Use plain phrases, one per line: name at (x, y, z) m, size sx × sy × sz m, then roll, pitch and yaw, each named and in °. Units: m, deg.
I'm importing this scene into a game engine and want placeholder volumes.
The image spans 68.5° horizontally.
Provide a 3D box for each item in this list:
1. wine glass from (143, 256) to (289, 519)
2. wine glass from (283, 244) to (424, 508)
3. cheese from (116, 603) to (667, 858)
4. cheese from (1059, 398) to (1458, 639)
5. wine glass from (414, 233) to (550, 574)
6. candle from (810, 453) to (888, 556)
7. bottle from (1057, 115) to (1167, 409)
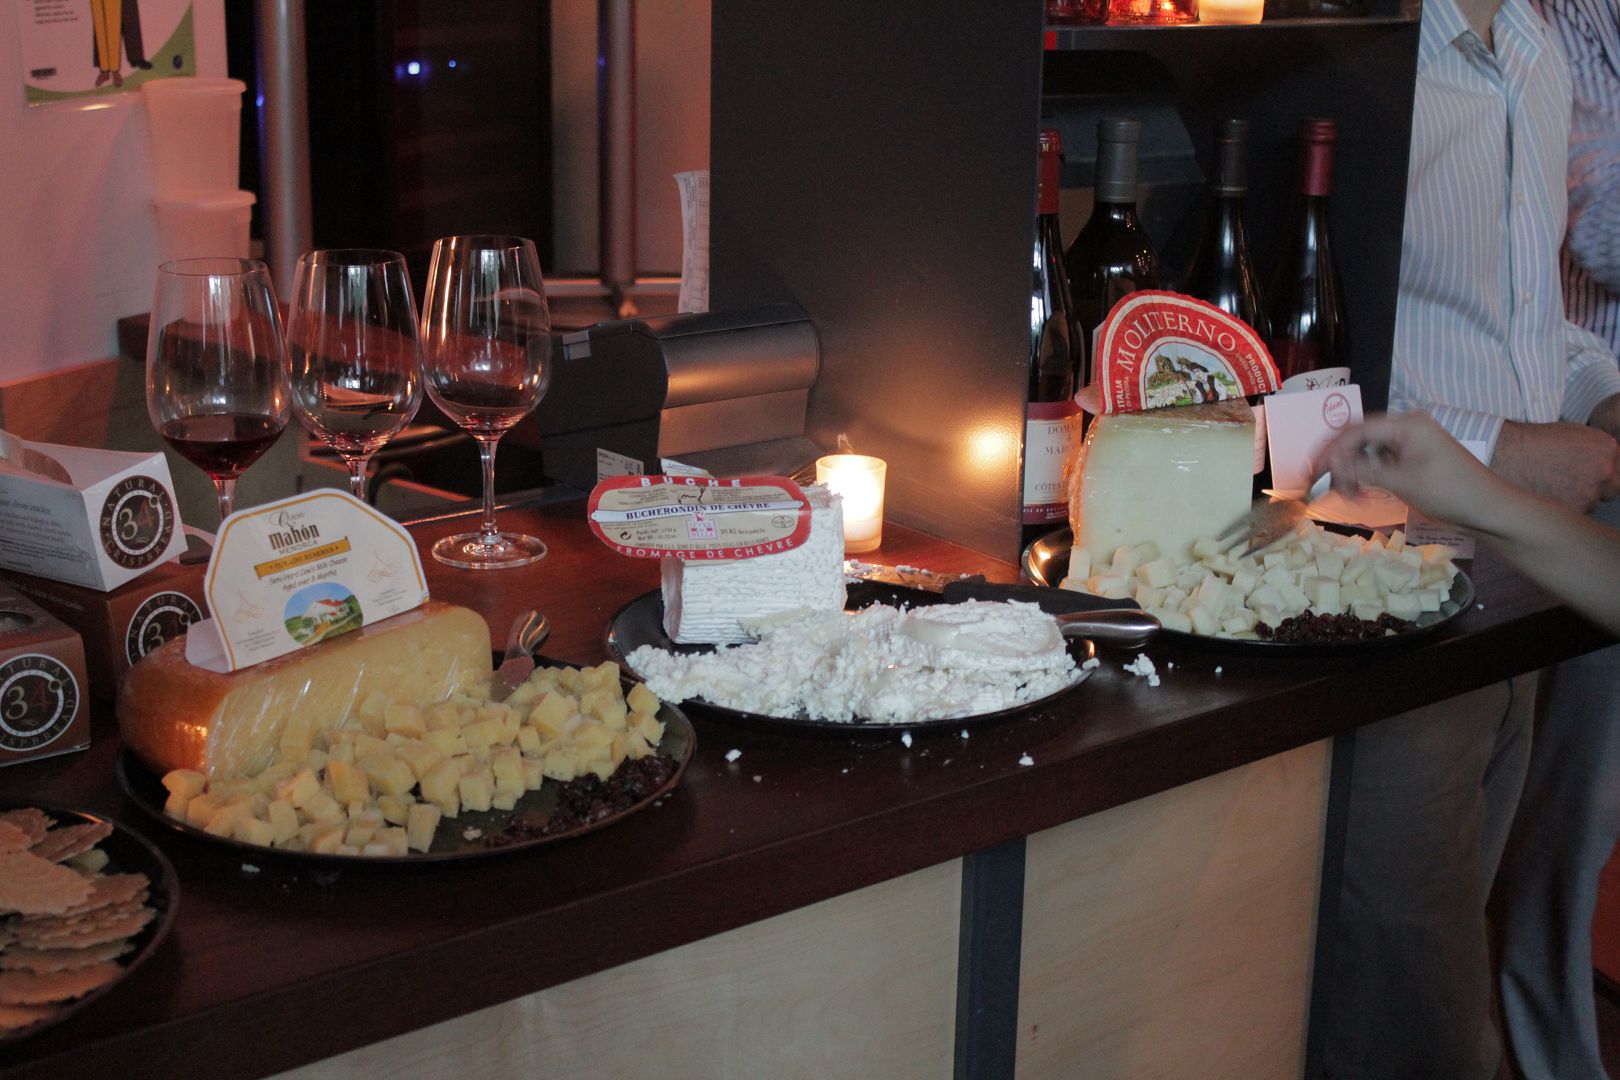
wine glass at (-0.598, -0.107, 1.210) m, size 0.131 × 0.332 × 0.127 m, roll -1°, pitch 16°, yaw -16°
wine glass at (-0.501, -0.202, 1.324) m, size 0.141 × 0.300 × 0.128 m, roll -14°, pitch 22°, yaw -38°
cheese at (-0.351, 0.163, 1.044) m, size 0.486 × 0.133 × 0.280 m, roll -7°, pitch 19°, yaw -16°
cheese at (0.504, -0.070, 1.485) m, size 0.446 × 0.287 × 0.380 m, roll -15°, pitch 20°, yaw -38°
wine glass at (-0.391, -0.170, 1.438) m, size 0.151 × 0.380 × 0.143 m, roll -9°, pitch 19°, yaw -37°
candle at (0.082, -0.039, 1.584) m, size 0.095 × 0.114 × 0.094 m, roll -3°, pitch -3°, yaw 28°
bottle at (0.420, -0.353, 1.644) m, size 0.126 × 0.416 × 0.126 m, roll 1°, pitch 11°, yaw 0°
